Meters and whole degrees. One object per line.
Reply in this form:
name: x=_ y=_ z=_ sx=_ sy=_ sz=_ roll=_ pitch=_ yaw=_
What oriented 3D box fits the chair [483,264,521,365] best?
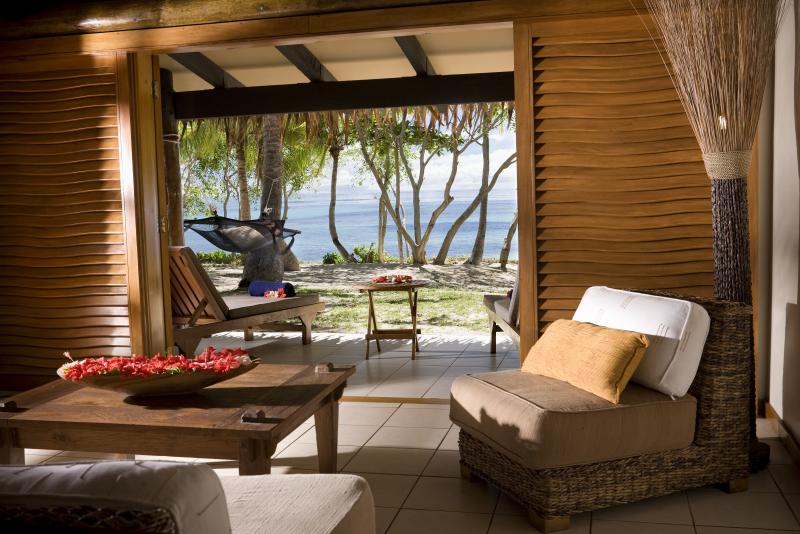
chair: x=1.121 y=0.516 z=6.884 sx=0.397 sy=0.528 sz=1.130 roll=0 pitch=0 yaw=13

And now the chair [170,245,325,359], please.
chair: x=-1.492 y=0.295 z=6.109 sx=1.580 sy=0.734 sz=0.773 roll=-2 pitch=4 yaw=-37

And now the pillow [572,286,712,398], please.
pillow: x=1.293 y=0.398 z=3.542 sx=0.327 sy=0.515 sz=0.833 roll=5 pitch=2 yaw=-29

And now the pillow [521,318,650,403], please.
pillow: x=0.988 y=0.462 z=3.257 sx=0.185 sy=0.354 sz=0.635 roll=38 pitch=-14 yaw=-23

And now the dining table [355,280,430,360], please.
dining table: x=-0.047 y=0.522 z=6.182 sx=0.670 sy=0.620 sz=0.655 roll=-2 pitch=-1 yaw=24

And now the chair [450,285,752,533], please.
chair: x=1.021 y=0.691 z=3.524 sx=1.370 sy=0.882 sz=1.257 roll=1 pitch=-2 yaw=-18
